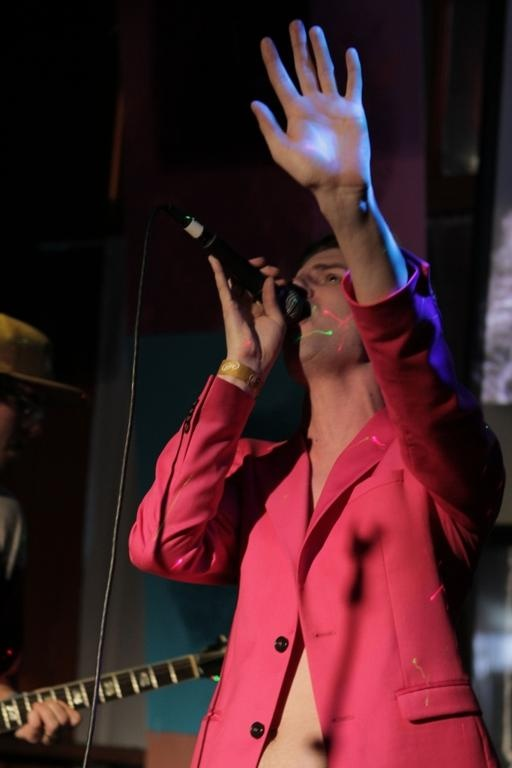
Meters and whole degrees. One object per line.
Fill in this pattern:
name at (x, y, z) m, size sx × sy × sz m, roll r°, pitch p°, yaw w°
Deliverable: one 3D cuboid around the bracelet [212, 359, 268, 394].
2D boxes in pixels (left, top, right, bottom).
bracelet at (-0.023, -0.013, 1.161) m, size 0.050 × 0.031 × 0.045 m, roll 21°, pitch 2°, yaw -13°
